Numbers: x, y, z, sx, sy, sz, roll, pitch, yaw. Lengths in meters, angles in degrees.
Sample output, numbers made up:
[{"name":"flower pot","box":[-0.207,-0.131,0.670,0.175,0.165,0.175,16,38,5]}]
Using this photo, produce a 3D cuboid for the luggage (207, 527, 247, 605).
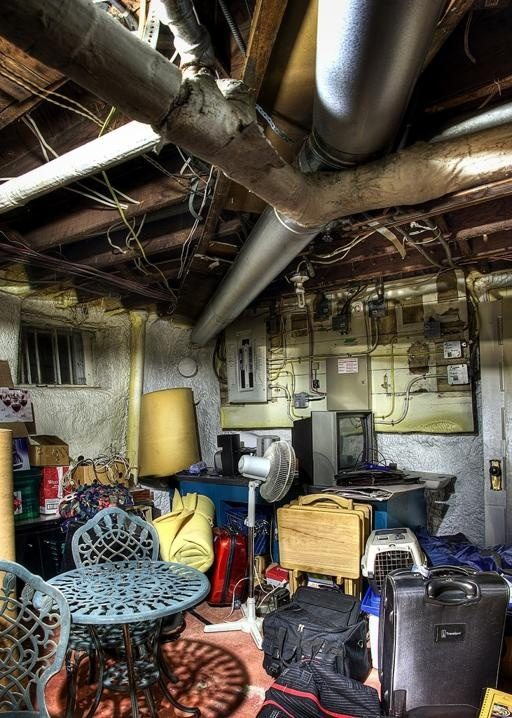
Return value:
[{"name":"luggage","box":[-0.140,1.565,3.508,0.268,0.458,0.305,-1,-32,15]}]

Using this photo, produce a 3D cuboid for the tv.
[{"name":"tv","box":[0.663,0.692,3.953,0.570,0.641,0.788,-6,-8,39]}]

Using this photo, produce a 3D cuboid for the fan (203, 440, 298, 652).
[{"name":"fan","box":[-0.004,1.119,3.067,0.527,1.177,0.709,-3,-3,34]}]

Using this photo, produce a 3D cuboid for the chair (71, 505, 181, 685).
[{"name":"chair","box":[-0.644,1.103,2.328,0.479,0.749,0.538,4,-21,-28]}]
